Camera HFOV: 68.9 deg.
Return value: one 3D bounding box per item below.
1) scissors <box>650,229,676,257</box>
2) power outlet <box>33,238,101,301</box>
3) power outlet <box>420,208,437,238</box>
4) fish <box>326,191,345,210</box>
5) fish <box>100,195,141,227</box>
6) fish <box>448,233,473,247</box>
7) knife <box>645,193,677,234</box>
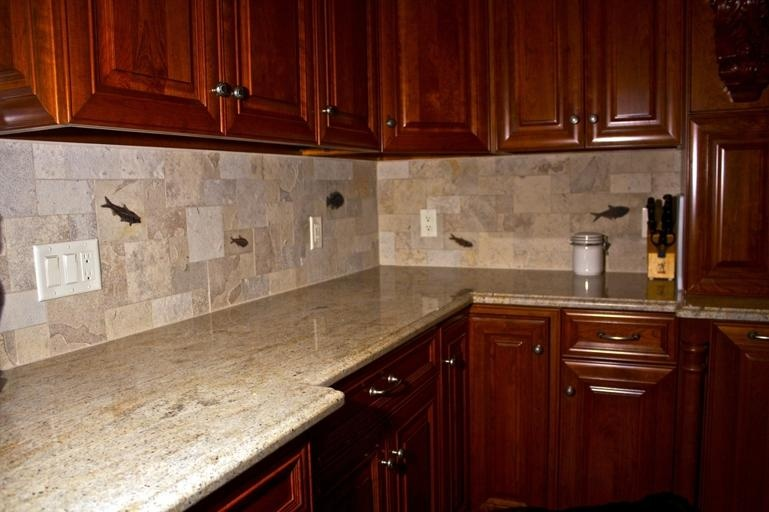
[{"bbox_3d":[1.234,-0.054,2.480,0.090,0.125,0.031,3,2,17],"label":"scissors"},{"bbox_3d":[-0.936,0.036,1.660,0.031,0.160,0.186,14,19,38],"label":"power outlet"},{"bbox_3d":[0.241,-0.173,2.963,0.099,0.154,0.031,4,15,8],"label":"power outlet"},{"bbox_3d":[-0.236,-0.264,2.682,0.015,0.085,0.132,8,16,23],"label":"fish"},{"bbox_3d":[-0.832,-0.141,1.789,0.037,0.054,0.127,23,-11,34],"label":"fish"},{"bbox_3d":[0.403,-0.075,2.913,0.126,0.046,0.050,24,19,21],"label":"fish"},{"bbox_3d":[1.251,-0.195,2.516,0.124,0.180,0.201,9,16,27],"label":"knife"}]
